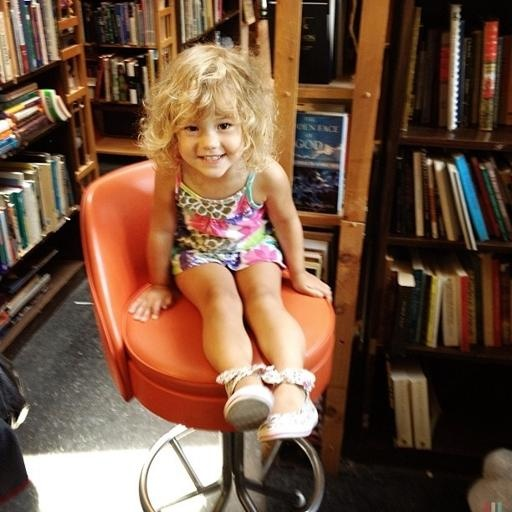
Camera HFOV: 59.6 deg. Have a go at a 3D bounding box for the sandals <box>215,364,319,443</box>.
[{"bbox_3d":[0.018,0.224,0.704,0.162,0.074,0.190,3,33,2],"label":"sandals"}]
